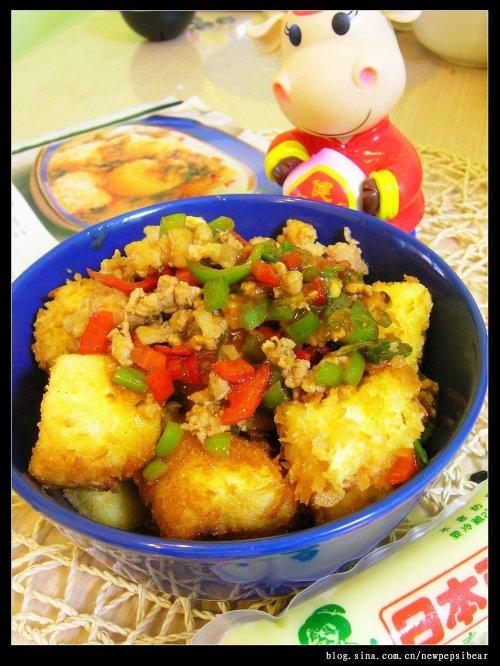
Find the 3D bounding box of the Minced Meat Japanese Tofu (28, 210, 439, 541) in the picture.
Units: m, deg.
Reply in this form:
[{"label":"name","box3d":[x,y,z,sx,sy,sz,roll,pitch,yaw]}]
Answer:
[{"label":"Minced Meat Japanese Tofu","box3d":[-0.104,0.090,1.367,1.005,0.406,0.763,9,59,8]}]

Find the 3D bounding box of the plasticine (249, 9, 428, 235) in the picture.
[{"label":"plasticine","box3d":[0.280,-0.681,1.936,0.572,0.693,0.461,4,20,25]}]
